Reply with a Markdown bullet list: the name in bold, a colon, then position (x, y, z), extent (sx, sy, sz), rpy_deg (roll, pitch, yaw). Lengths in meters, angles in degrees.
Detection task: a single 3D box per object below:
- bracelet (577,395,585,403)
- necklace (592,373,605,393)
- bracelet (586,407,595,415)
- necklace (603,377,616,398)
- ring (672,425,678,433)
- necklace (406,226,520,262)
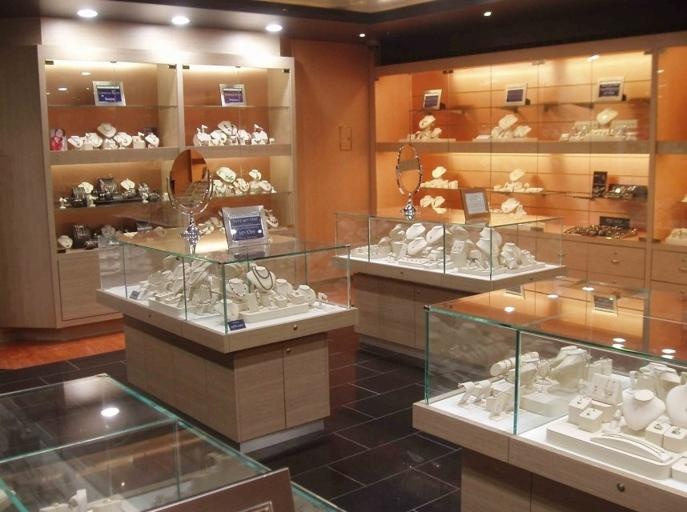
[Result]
- **bracelet**: position (0.909, 0.548, 1.969), extent (0.029, 0.026, 0.007), rpy_deg (-6, -26, 29)
- **necklace**: position (0.953, 0.476, 1.918), extent (0.047, 0.085, 0.009), rpy_deg (8, 16, 36)
- **bracelet**: position (0.931, 0.584, 1.939), extent (0.029, 0.017, 0.029), rpy_deg (-10, -6, 43)
- **necklace**: position (0.982, 0.487, 1.899), extent (0.038, 0.056, 0.021), rpy_deg (-2, 10, -8)
- **ring**: position (1.143, 0.598, 1.766), extent (0.021, 0.014, 0.027), rpy_deg (8, 15, 38)
- **necklace**: position (0.889, -0.131, 4.386), extent (0.913, 0.343, 0.204), rpy_deg (10, 17, 43)
